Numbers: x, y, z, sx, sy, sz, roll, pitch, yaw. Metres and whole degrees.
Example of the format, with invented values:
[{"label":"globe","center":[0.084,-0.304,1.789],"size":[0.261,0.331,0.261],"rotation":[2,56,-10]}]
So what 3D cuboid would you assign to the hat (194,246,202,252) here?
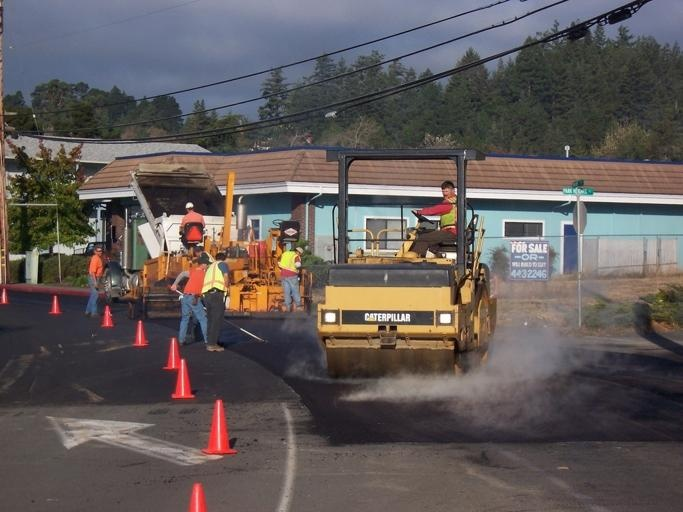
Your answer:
[{"label":"hat","center":[-4.052,-0.181,33.579],"size":[0.224,0.182,0.128],"rotation":[-1,7,0]}]

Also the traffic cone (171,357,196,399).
[{"label":"traffic cone","center":[-3.025,2.417,22.622],"size":[0.472,0.650,0.515],"rotation":[0,-3,17]}]

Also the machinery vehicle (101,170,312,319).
[{"label":"machinery vehicle","center":[-3.845,-0.519,34.186],"size":[2.566,4.786,7.792],"rotation":[12,-9,-34]}]

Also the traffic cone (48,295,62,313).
[{"label":"traffic cone","center":[-9.026,1.557,37.223],"size":[0.422,0.634,0.395],"rotation":[4,5,42]}]

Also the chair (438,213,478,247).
[{"label":"chair","center":[2.408,-0.528,23.464],"size":[0.729,0.706,0.523],"rotation":[-1,-1,0]}]

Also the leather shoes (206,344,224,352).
[{"label":"leather shoes","center":[-2.868,2.115,26.960],"size":[0.308,0.144,0.167],"rotation":[-3,3,-12]}]

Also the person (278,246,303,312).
[{"label":"person","center":[-1.406,0.689,32.409],"size":[0.624,1.708,0.694],"rotation":[0,9,-3]}]

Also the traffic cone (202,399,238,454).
[{"label":"traffic cone","center":[-2.022,2.964,19.766],"size":[0.598,0.731,0.610],"rotation":[-3,10,-34]}]

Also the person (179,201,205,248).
[{"label":"person","center":[-4.234,-0.771,33.740],"size":[0.633,1.637,1.012],"rotation":[-6,19,-16]}]

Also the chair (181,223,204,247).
[{"label":"chair","center":[-4.176,-0.545,33.280],"size":[0.517,0.742,0.607],"rotation":[-1,18,-14]}]

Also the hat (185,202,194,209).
[{"label":"hat","center":[-4.324,-1.414,33.650],"size":[0.209,0.170,0.303],"rotation":[-5,3,-26]}]

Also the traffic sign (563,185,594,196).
[{"label":"traffic sign","center":[6.259,-1.699,31.323],"size":[0.437,0.274,0.939],"rotation":[8,13,40]}]

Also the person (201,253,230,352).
[{"label":"person","center":[-2.870,1.163,26.947],"size":[0.573,1.975,0.519],"rotation":[-2,9,-11]}]

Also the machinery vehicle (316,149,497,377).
[{"label":"machinery vehicle","center":[1.479,0.073,24.885],"size":[3.262,4.698,5.553],"rotation":[0,1,20]}]
